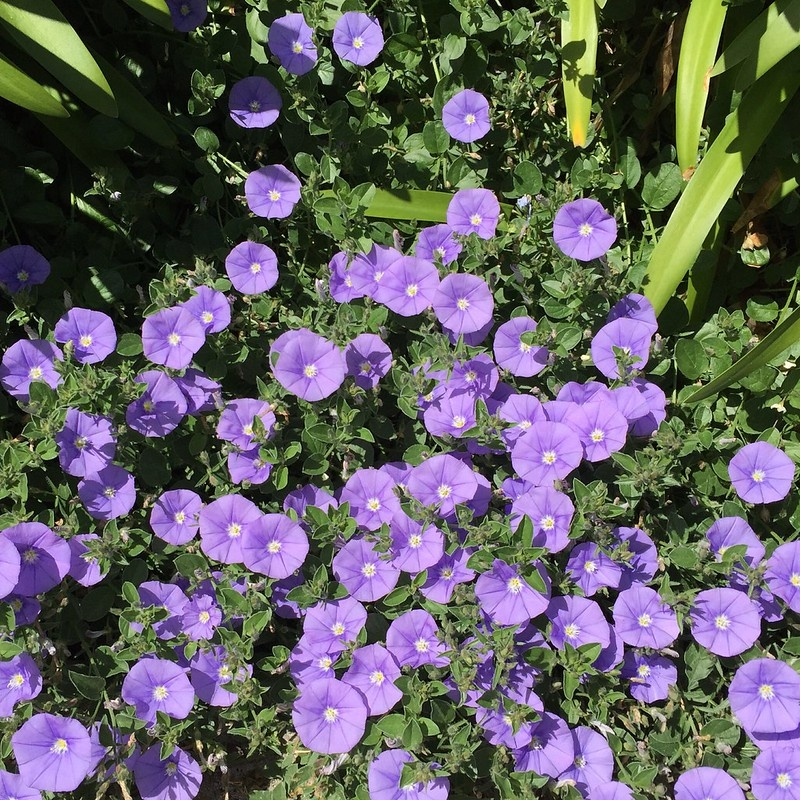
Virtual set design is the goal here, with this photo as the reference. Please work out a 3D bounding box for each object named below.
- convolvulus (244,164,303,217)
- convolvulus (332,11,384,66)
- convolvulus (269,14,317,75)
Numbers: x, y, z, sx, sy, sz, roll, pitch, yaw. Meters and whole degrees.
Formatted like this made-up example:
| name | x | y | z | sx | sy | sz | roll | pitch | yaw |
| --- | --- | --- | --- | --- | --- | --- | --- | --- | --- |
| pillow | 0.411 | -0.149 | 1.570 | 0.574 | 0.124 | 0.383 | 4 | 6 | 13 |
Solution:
| name | x | y | z | sx | sy | sz | roll | pitch | yaw |
| --- | --- | --- | --- | --- | --- | --- | --- | --- | --- |
| convolvulus | -0.435 | -0.727 | 2.990 | 0.184 | 0.204 | 0.043 | -19 | 68 | -1 |
| convolvulus | -0.145 | -1.231 | 2.951 | 0.166 | 0.041 | 0.198 | -14 | 80 | 4 |
| convolvulus | -0.343 | -1.232 | 2.985 | 0.162 | 0.175 | 0.055 | 25 | 78 | 14 |
